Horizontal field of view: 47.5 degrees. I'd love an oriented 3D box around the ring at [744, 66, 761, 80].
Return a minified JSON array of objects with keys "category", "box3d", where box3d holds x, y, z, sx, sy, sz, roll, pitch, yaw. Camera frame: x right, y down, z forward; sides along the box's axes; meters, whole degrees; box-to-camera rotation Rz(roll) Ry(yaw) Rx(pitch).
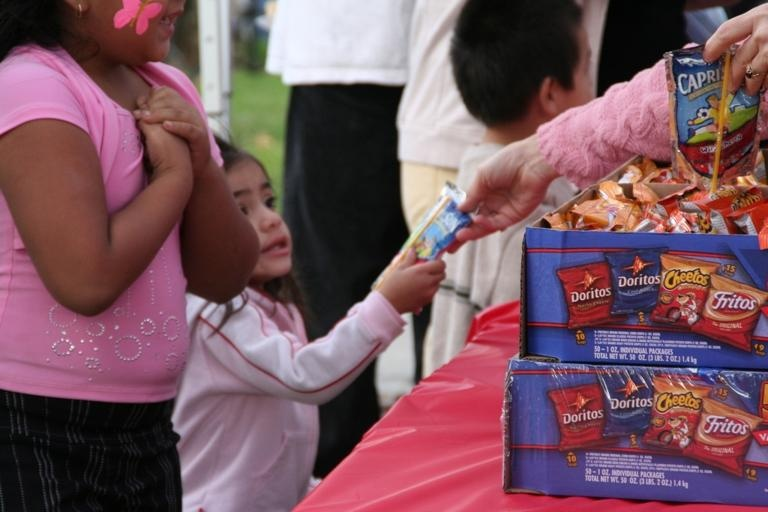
[{"category":"ring","box3d":[0.678,-0.338,1.610,0.021,0.014,0.019,6,5,-1]}]
